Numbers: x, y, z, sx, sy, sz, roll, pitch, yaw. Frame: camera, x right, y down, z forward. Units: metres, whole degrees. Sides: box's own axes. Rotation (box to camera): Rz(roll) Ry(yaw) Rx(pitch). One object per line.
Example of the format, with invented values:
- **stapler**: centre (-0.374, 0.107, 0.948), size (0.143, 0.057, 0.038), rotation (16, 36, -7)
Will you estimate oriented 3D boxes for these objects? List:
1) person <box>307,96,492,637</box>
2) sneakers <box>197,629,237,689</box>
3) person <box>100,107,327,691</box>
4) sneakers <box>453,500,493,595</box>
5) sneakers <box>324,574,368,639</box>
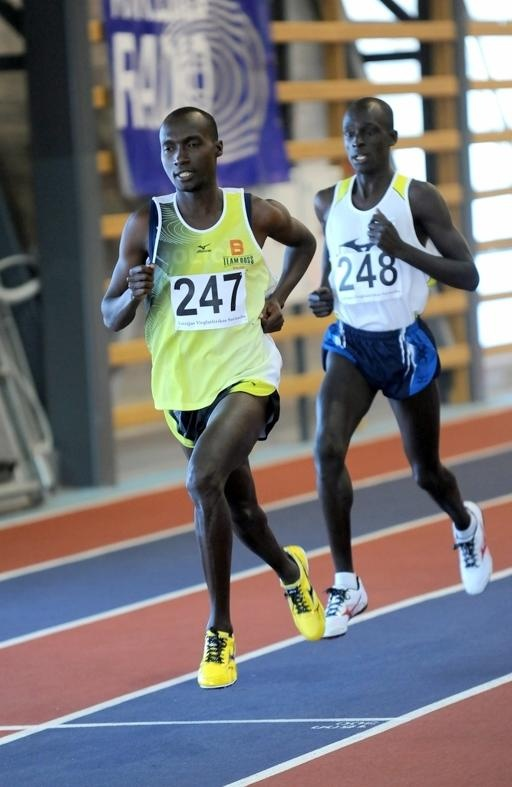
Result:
- **person**: centre (0.370, -0.074, 2.181), size (0.496, 0.949, 0.421), rotation (-4, 2, 0)
- **sneakers**: centre (-0.073, 0.548, 1.690), size (0.057, 0.067, 0.156), rotation (0, 0, 4)
- **person**: centre (-0.096, 0.022, 1.896), size (0.324, 0.993, 0.528), rotation (-3, 2, 35)
- **sneakers**: centre (0.649, 0.450, 2.350), size (0.100, 0.279, 0.144), rotation (-11, -13, 23)
- **sneakers**: centre (0.213, 0.531, 2.054), size (0.070, 0.084, 0.192), rotation (-6, 14, 28)
